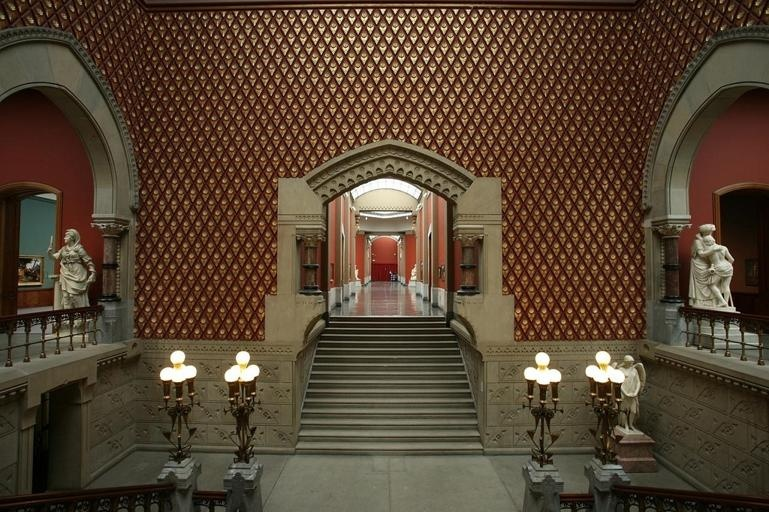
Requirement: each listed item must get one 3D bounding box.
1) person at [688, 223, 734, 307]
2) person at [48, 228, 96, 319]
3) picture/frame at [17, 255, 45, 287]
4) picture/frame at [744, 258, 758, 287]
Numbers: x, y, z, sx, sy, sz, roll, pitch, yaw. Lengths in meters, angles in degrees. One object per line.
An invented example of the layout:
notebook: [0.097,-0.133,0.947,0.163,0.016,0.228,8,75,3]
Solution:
person: [6.637,0.212,11.349,0.794,1.747,0.469,-2,-5,29]
person: [-6.481,0.229,11.654,1.026,1.710,0.713,-2,-5,28]
picture/frame: [-10.636,0.429,16.704,1.425,0.954,0.070,0,-2,28]
picture/frame: [9.249,0.401,14.023,0.079,0.703,0.264,4,-6,-39]
